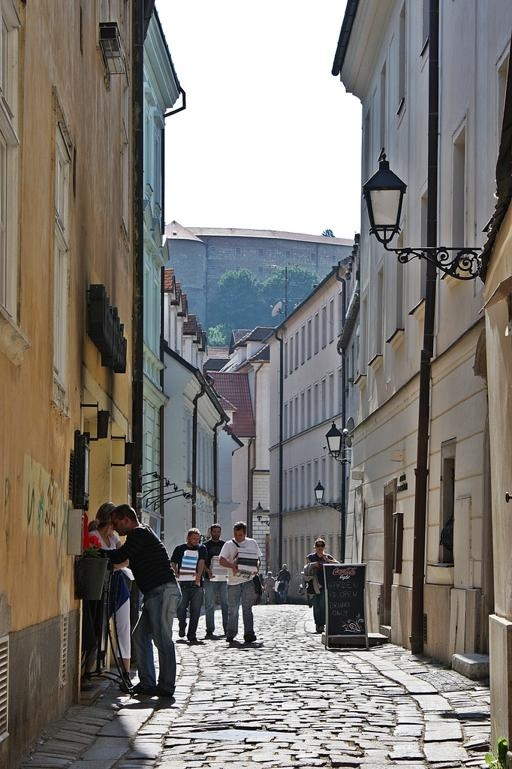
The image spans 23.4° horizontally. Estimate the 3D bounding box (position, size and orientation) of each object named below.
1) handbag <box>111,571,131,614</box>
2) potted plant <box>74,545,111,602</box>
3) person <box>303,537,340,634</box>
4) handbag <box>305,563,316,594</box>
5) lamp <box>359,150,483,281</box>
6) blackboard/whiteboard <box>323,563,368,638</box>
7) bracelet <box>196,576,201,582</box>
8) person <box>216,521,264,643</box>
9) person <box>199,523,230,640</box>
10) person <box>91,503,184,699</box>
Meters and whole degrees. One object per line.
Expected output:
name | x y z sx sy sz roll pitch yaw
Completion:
handbag | -1.182 1.797 10.670 0.041 0.157 0.401 17 -41 15
potted plant | -1.288 1.448 9.689 0.192 0.505 0.489 -1 -5 -1
person | 1.000 3.148 19.497 0.305 1.513 0.395 5 -24 -12
handbag | 0.838 3.056 19.495 0.158 0.454 0.621 -2 -16 2
lamp | 1.614 -1.757 11.806 1.071 0.514 1.968 2 -49 17
blackboard/whiteboard | 1.153 2.794 15.956 0.538 1.048 0.702 -2 -13 4
bracelet | -0.849 2.818 17.950 0.040 0.078 0.051 19 -55 -9
person | -0.194 2.623 16.528 0.356 1.643 0.371 0 0 -29
person | -0.592 3.010 18.868 0.393 0.573 2.061 -4 -63 -11
person | -0.930 1.826 10.104 0.583 1.525 0.772 0 -12 -4
